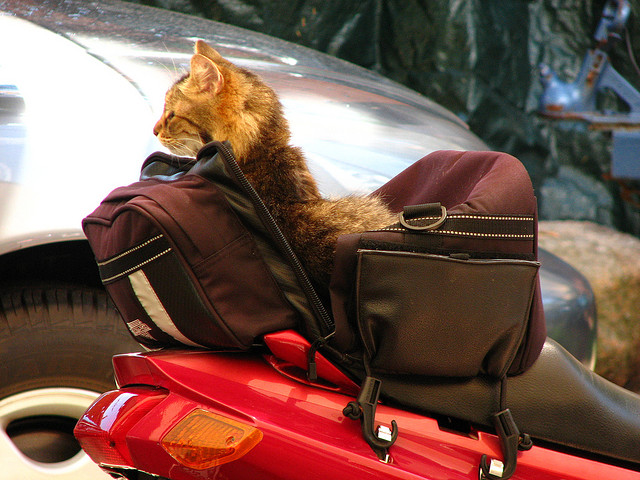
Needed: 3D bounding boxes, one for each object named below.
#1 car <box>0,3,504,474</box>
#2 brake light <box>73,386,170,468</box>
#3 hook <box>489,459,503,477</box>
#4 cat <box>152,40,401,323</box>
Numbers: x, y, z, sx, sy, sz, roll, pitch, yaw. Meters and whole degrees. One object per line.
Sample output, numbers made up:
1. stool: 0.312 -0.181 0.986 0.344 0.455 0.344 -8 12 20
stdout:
1. car: -0.075 -0.193 3.161 2.393 1.093 1.169 -1 1 -9
2. brake light: -0.599 0.513 2.287 0.272 0.234 0.249 8 15 43
3. hook: 0.503 0.648 2.109 0.052 0.036 0.044 10 58 10
4. cat: 0.004 -0.187 2.557 1.266 0.624 0.387 15 6 23
